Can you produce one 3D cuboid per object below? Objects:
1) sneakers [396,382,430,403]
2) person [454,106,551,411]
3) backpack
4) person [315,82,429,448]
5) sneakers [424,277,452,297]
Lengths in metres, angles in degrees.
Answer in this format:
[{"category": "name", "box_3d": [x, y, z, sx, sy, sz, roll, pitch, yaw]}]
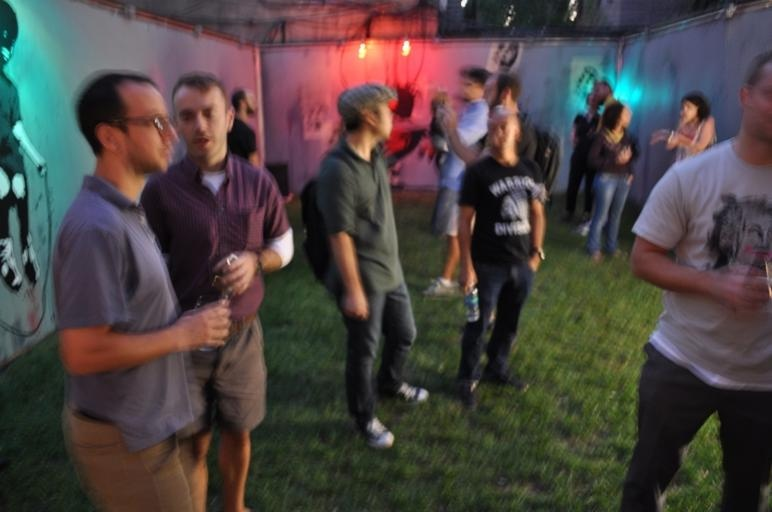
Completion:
[{"category": "sneakers", "box_3d": [0.219, 1.085, 4.753, 0.298, 0.241, 0.122, -1, 48, 7]}, {"category": "person", "box_3d": [0.897, 0.008, 4.673, 0.686, 2.198, 0.435, -5, 17, -22]}, {"category": "backpack", "box_3d": [-0.338, -0.256, 4.229, 0.353, 0.545, 0.568, -1, 41, 23]}, {"category": "person", "box_3d": [-0.110, 0.061, 4.354, 0.635, 2.481, 0.637, 9, 18, 22]}, {"category": "sneakers", "box_3d": [0.564, 0.338, 6.237, 0.222, 0.099, 0.197, 3, 50, -4]}]
